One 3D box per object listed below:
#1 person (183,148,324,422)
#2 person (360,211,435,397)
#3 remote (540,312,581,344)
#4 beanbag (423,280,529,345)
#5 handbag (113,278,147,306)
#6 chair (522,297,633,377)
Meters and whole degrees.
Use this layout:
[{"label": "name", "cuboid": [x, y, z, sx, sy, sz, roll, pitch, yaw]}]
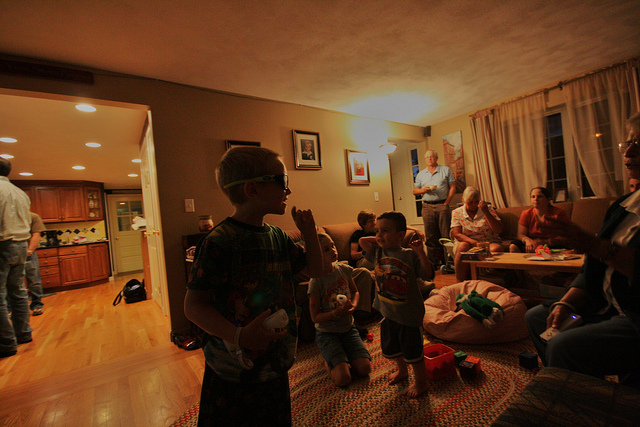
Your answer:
[{"label": "person", "cuboid": [-0.465, 0.509, 2.762, 0.931, 1.698, 0.329, -5, 2, -1]}, {"label": "person", "cuboid": [0.693, 0.774, 3.500, 0.622, 1.142, 0.293, -5, 2, 16]}, {"label": "remote", "cuboid": [1.864, 0.874, 3.097, 0.319, 0.072, 0.170, -34, 6, -12]}, {"label": "beanbag", "cuboid": [1.588, 0.939, 4.318, 1.082, 0.578, 1.079, -6, 1, -27]}, {"label": "handbag", "cuboid": [-3.033, 1.245, 6.318, 0.512, 0.247, 0.317, -25, -19, 36]}, {"label": "chair", "cuboid": [1.994, 0.962, 3.119, 0.582, 0.473, 0.430, -5, 2, 3]}]
